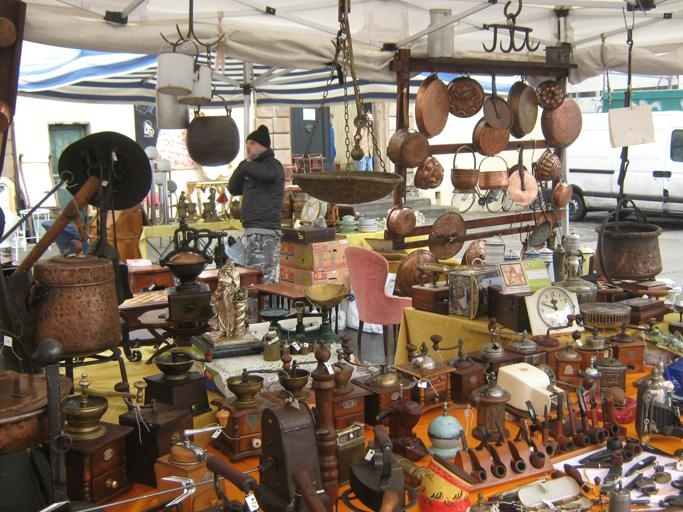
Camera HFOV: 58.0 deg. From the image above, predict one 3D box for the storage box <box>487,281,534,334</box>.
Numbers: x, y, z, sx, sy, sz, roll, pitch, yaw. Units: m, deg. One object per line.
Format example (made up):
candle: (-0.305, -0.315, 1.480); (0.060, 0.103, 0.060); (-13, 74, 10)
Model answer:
storage box: (0.983, 0.294, 3.523); (0.225, 0.196, 0.292); (-9, 12, -26)

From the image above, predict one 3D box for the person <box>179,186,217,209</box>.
person: (-2.054, -0.838, 8.837); (0.626, 0.313, 0.891); (-1, 9, -1)

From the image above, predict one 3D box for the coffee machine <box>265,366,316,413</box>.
coffee machine: (-0.196, 0.519, 2.464); (0.173, 0.106, 0.172); (1, -1, -44)

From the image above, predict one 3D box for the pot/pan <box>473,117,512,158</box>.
pot/pan: (1.396, -1.077, 5.650); (0.227, 0.329, 0.485); (6, 9, 44)

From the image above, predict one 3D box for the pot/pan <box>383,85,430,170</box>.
pot/pan: (0.572, -1.067, 5.306); (0.320, 0.748, 0.262); (0, 10, 4)

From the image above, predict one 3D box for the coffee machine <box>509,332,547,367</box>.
coffee machine: (0.940, 0.459, 3.184); (0.164, 0.169, 0.163); (-5, 9, -27)

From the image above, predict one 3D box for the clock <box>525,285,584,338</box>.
clock: (1.171, 0.307, 3.437); (0.327, 0.269, 0.096); (-3, -12, -14)

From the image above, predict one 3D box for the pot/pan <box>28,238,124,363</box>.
pot/pan: (-1.054, 0.214, 2.703); (0.428, 0.471, 0.435); (-1, -2, -11)

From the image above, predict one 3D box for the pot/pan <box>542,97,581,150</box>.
pot/pan: (2.165, -1.308, 6.080); (0.432, 0.461, 0.241); (-7, 9, -42)

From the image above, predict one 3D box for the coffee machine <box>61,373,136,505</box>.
coffee machine: (-0.964, 0.724, 2.411); (0.183, 0.430, 0.222); (4, 8, 36)

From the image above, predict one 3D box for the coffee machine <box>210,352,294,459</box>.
coffee machine: (-0.414, 0.614, 2.719); (0.345, 0.467, 0.365); (-1, 4, -43)

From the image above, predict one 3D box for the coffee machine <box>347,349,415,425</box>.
coffee machine: (0.183, 0.576, 2.750); (0.261, 0.162, 0.262); (-3, 4, -34)

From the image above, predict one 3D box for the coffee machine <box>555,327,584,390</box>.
coffee machine: (1.179, 0.538, 3.189); (0.130, 0.196, 0.264); (2, 7, 22)

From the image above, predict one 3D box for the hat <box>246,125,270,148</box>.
hat: (-0.745, -1.101, 5.736); (0.210, 0.165, 0.214); (24, 13, 23)

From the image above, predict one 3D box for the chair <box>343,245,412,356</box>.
chair: (0.425, 0.413, 5.712); (0.703, 1.037, 0.731); (7, 11, 41)

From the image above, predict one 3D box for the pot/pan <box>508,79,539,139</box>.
pot/pan: (1.685, -1.367, 5.710); (0.102, 0.459, 0.457); (3, -15, 41)

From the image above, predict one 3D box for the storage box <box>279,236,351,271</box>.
storage box: (-0.269, -0.014, 6.150); (0.687, 0.293, 0.418); (-2, 7, -7)

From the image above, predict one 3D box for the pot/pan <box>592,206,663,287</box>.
pot/pan: (1.840, -0.068, 3.977); (0.386, 0.490, 0.529); (1, 7, 14)

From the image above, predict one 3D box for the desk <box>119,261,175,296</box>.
desk: (-1.639, 0.179, 5.370); (0.354, 0.339, 0.264); (-4, 5, -37)

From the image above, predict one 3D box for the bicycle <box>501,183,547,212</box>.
bicycle: (1.834, -0.669, 6.176); (0.170, 0.334, 0.505); (5, 9, 41)

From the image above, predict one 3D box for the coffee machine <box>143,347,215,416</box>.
coffee machine: (-0.706, 0.538, 2.817); (0.274, 0.317, 0.273); (-2, 4, -43)

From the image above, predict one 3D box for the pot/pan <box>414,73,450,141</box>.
pot/pan: (0.771, -1.281, 5.268); (0.177, 0.525, 0.401); (3, 8, 31)

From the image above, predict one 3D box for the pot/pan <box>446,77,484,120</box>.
pot/pan: (1.095, -1.414, 5.467); (0.366, 0.354, 0.233); (-1, 7, -4)
